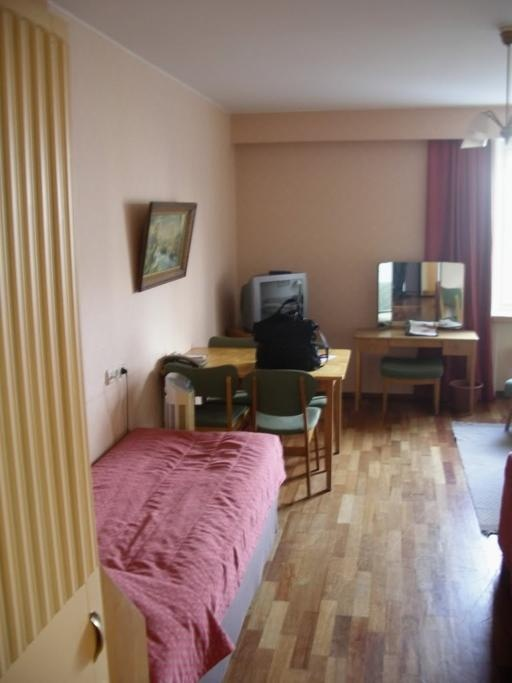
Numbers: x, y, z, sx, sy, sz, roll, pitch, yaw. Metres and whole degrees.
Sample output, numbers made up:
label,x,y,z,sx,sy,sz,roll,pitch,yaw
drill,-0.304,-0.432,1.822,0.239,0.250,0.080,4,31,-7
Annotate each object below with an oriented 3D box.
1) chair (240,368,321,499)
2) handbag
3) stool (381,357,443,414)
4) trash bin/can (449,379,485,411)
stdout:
label,x,y,z,sx,sy,sz,roll,pitch,yaw
chair,0.199,0.536,3.617,0.410,0.878,0.524,0,13,11
handbag,0.215,-0.042,3.952,0.518,0.607,0.258,0,8,-1
stool,1.538,0.381,5.396,0.560,0.556,0.514,-3,28,11
trash bin/can,2.024,0.536,5.203,0.255,0.244,0.288,-3,4,-8
